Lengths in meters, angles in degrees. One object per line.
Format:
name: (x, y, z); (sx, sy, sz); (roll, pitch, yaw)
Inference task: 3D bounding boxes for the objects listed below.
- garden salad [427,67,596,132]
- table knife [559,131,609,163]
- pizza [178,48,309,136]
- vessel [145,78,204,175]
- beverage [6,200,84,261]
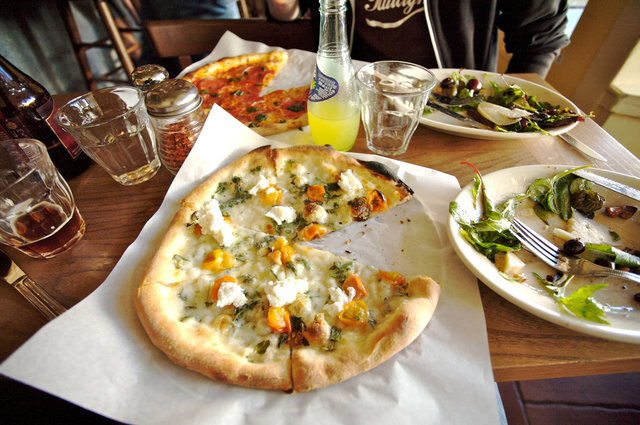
garden salad: (1.358, -0.811, 3.287); (0.764, 0.129, 0.682); (-1, 41, -16)
table knife: (1.784, -0.453, 3.080); (0.077, 0.021, 0.541); (-27, 29, 7)
pizza: (-0.604, -1.035, 3.898); (1.057, 0.132, 1.005); (29, 52, 29)
vessel: (-0.926, -0.533, 2.866); (0.350, 0.492, 0.340); (17, 48, 5)
beverage: (-1.537, 0.132, 2.584); (0.307, 0.157, 0.322); (37, 56, 13)
